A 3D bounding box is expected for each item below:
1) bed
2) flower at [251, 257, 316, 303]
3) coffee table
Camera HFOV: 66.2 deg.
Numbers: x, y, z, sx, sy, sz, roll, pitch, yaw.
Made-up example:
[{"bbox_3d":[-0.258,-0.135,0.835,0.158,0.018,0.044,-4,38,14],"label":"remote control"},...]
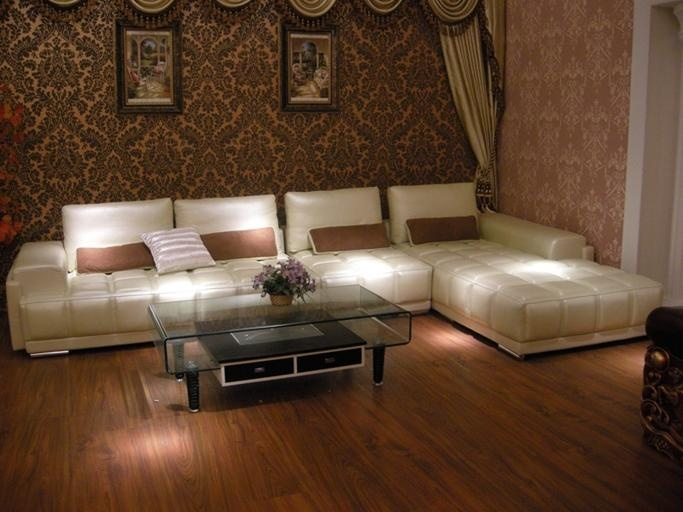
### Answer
[{"bbox_3d":[1.454,0.055,4.942,1.241,1.102,2.181,-6,14,-20],"label":"bed"},{"bbox_3d":[-0.433,0.226,3.881,0.375,0.277,0.370,2,-3,38],"label":"flower"},{"bbox_3d":[-0.449,0.573,3.629,1.674,0.605,0.773,-9,11,-15],"label":"coffee table"}]
